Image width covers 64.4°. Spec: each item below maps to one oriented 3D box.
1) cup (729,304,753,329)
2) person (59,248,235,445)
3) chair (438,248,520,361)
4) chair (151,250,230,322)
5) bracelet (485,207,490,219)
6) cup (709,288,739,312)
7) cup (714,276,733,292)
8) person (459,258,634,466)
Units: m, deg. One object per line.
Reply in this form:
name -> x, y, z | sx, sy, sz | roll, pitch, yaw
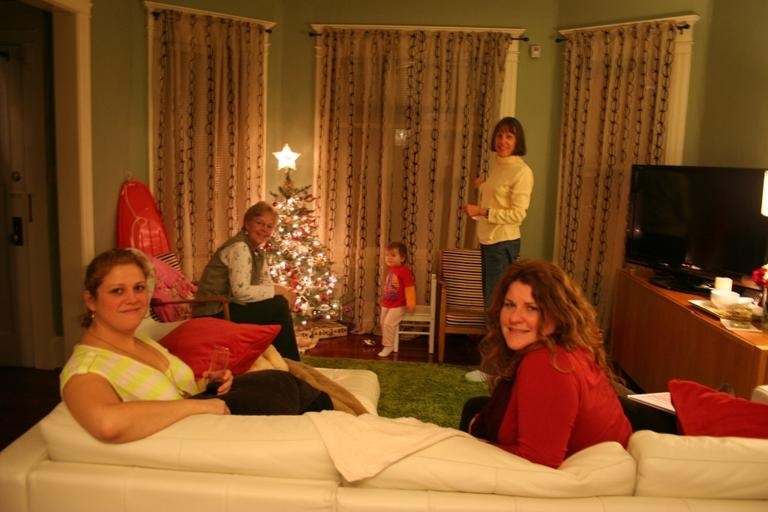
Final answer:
cup -> 2.230, 0.383, 3.822 | 0.135, 0.121, 0.129 | 0, 3, 0
person -> -0.968, 0.426, 2.753 | 0.737, 0.639, 1.155 | 0, -1, -14
chair -> 0.787, 0.336, 5.873 | 0.794, 1.001, 0.864 | 0, 0, 1
chair -> -1.439, 0.236, 4.512 | 0.677, 0.429, 0.480 | 3, 10, 3
bracelet -> 0.842, -0.350, 4.942 | 0.043, 0.055, 0.017 | -2, -4, 39
cup -> 2.279, 0.292, 4.065 | 0.143, 0.100, 0.148 | 1, -1, 0
cup -> 2.386, 0.192, 4.273 | 0.126, 0.127, 0.119 | 0, 2, 0
person -> 0.741, 0.526, 2.876 | 0.683, 0.898, 0.861 | 5, -5, -9
